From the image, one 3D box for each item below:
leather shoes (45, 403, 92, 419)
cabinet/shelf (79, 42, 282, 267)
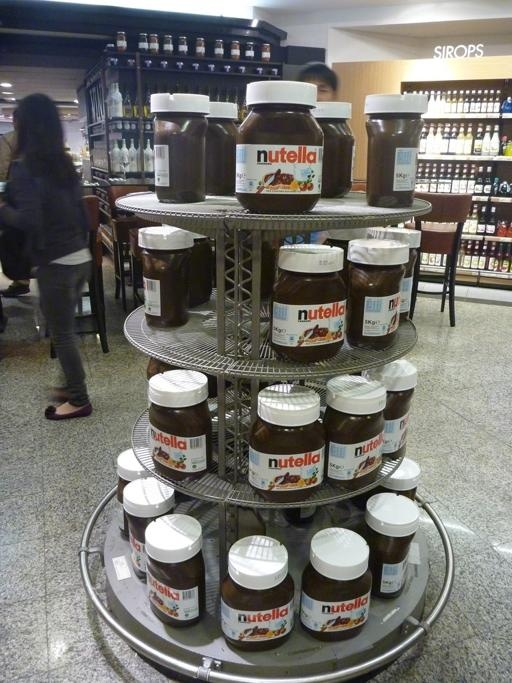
[{"bbox_3d":[-0.996,0.368,2.829,0.195,0.070,0.098,5,11,-12],"label":"leather shoes"},{"bbox_3d":[-0.863,-2.672,6.561,1.802,1.573,0.922,1,4,-4],"label":"cabinet/shelf"}]
